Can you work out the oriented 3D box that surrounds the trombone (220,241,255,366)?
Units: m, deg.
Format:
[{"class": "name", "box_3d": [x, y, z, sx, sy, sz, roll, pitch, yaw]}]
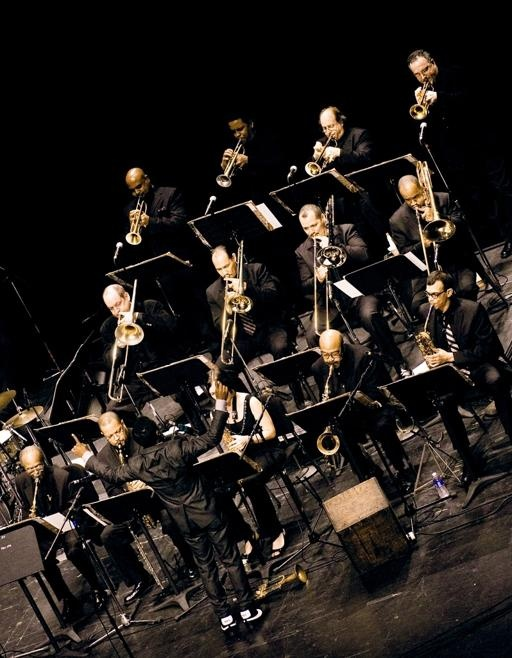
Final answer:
[{"class": "trombone", "box_3d": [-0.213, -0.292, 7.392, 0.321, 1.324, 0.282, 0, -17, 15]}]

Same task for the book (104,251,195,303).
[{"class": "book", "box_3d": [-1.062, -0.601, 7.570, 0.610, 0.129, 0.539, -16, -23, 18]}]

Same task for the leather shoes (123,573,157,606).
[{"class": "leather shoes", "box_3d": [-1.055, 2.371, 6.496, 0.368, 0.137, 0.126, -40, 41, -26]}]

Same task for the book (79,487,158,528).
[{"class": "book", "box_3d": [-1.073, 1.428, 5.664, 0.447, 0.107, 0.411, -15, -23, -4]}]

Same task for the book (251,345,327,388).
[{"class": "book", "box_3d": [0.298, 0.334, 6.336, 0.356, 0.120, 0.524, -18, -23, 4]}]

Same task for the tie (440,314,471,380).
[{"class": "tie", "box_3d": [1.644, 0.144, 5.832, 0.108, 0.660, 0.079, -10, -44, -12]}]

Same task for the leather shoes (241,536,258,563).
[{"class": "leather shoes", "box_3d": [-0.058, 1.937, 6.230, 0.093, 0.231, 0.175, 8, 10, -16]}]

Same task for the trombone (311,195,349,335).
[{"class": "trombone", "box_3d": [0.750, -0.687, 7.142, 0.360, 1.464, 0.357, -1, -15, 6]}]

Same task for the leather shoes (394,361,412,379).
[{"class": "leather shoes", "box_3d": [1.382, 0.387, 6.710, 0.129, 0.143, 0.357, -7, -7, 4]}]

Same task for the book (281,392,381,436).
[{"class": "book", "box_3d": [0.604, 0.653, 5.460, 0.637, 0.352, 0.271, -26, 1, 4]}]

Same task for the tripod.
[{"class": "tripod", "box_3d": [-0.017, 1.721, 5.807, 2.600, 1.437, 0.571, 0, -22, -8]}]

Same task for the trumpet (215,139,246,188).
[{"class": "trumpet", "box_3d": [-0.256, -1.842, 8.044, 0.292, 0.658, 0.206, 6, -27, 13]}]

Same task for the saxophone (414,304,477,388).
[{"class": "saxophone", "box_3d": [1.579, 0.108, 6.204, 0.510, 0.633, 0.210, 2, 5, 15]}]

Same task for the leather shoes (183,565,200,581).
[{"class": "leather shoes", "box_3d": [-0.572, 2.193, 6.334, 0.091, 0.111, 0.043, -6, 2, 34]}]

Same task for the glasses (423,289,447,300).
[{"class": "glasses", "box_3d": [1.525, -0.298, 6.043, 0.168, 0.046, 0.159, 1, 0, -44]}]

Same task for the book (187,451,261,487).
[{"class": "book", "box_3d": [-0.266, 1.081, 5.642, 0.408, 0.083, 0.356, -2, -2, -32]}]

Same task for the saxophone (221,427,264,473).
[{"class": "saxophone", "box_3d": [-0.199, 0.979, 5.886, 0.157, 0.143, 0.709, -1, 16, -29]}]

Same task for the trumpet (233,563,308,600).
[{"class": "trumpet", "box_3d": [0.135, 2.082, 5.792, 0.581, 0.208, 0.190, -26, -19, 24]}]

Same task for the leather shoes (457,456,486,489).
[{"class": "leather shoes", "box_3d": [1.742, 1.174, 5.756, 0.172, 0.221, 0.086, -6, -26, 42]}]

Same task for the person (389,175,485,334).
[{"class": "person", "box_3d": [1.728, -0.882, 6.835, 0.943, 1.794, 0.576, -10, -32, 5]}]

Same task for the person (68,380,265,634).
[{"class": "person", "box_3d": [-0.768, 1.637, 6.145, 1.606, 2.127, 0.517, -29, 5, 4]}]

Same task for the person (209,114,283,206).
[{"class": "person", "box_3d": [-0.060, -1.908, 8.123, 0.495, 1.377, 0.571, 16, -46, 6]}]

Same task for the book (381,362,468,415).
[{"class": "book", "box_3d": [1.302, 0.389, 5.426, 0.438, 0.090, 0.428, -26, -47, 23]}]

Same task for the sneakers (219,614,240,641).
[{"class": "sneakers", "box_3d": [-0.213, 2.340, 5.529, 0.092, 0.227, 0.098, -6, -43, -5]}]

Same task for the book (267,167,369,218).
[{"class": "book", "box_3d": [0.553, -1.352, 6.941, 0.746, 0.466, 0.550, -26, 1, 18]}]

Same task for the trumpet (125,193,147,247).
[{"class": "trumpet", "box_3d": [-1.404, -1.248, 8.213, 0.209, 0.607, 0.260, 31, -52, -13]}]

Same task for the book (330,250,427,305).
[{"class": "book", "box_3d": [1.118, -0.495, 6.447, 0.448, 0.149, 0.690, -19, -19, 22]}]

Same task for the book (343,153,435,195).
[{"class": "book", "box_3d": [1.252, -1.510, 6.657, 0.488, 0.106, 0.509, -24, 10, -42]}]

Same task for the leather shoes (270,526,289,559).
[{"class": "leather shoes", "box_3d": [0.185, 1.880, 6.196, 0.094, 0.237, 0.060, -12, -30, 37]}]
